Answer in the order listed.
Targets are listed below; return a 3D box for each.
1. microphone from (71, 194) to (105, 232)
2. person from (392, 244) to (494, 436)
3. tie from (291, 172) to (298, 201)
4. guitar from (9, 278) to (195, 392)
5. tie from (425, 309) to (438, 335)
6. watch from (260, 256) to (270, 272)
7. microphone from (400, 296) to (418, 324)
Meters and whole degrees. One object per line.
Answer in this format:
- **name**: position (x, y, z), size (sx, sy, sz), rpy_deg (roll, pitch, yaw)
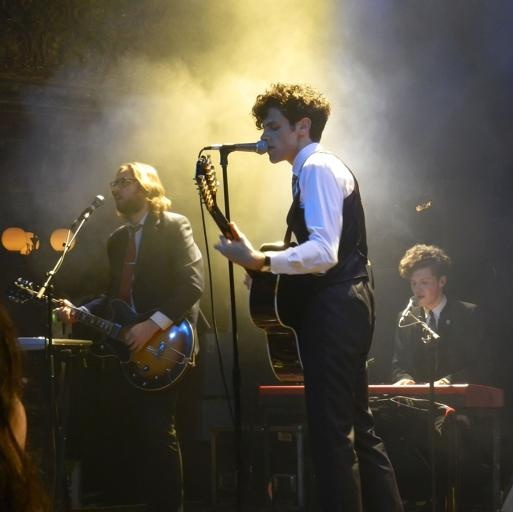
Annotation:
- **microphone**: position (-1.237, -0.311, 4.918), size (0.103, 0.317, 0.098), rpy_deg (42, 0, 18)
- **person**: position (1.267, 0.540, 4.634), size (0.564, 1.186, 0.617), rpy_deg (-14, -12, 37)
- **tie**: position (0.178, -0.329, 3.113), size (0.014, 0.104, 0.050), rpy_deg (-6, -17, -1)
- **guitar**: position (-0.999, 0.398, 4.463), size (1.290, 0.617, 0.161), rpy_deg (30, 24, 21)
- **tie**: position (1.144, 0.431, 4.346), size (0.027, 0.195, 0.088), rpy_deg (0, -1, 26)
- **watch**: position (0.035, 0.042, 2.896), size (0.047, 0.053, 0.054), rpy_deg (-2, -36, -2)
- **microphone**: position (1.022, 0.372, 4.469), size (0.034, 0.167, 0.081), rpy_deg (2, 24, -19)
